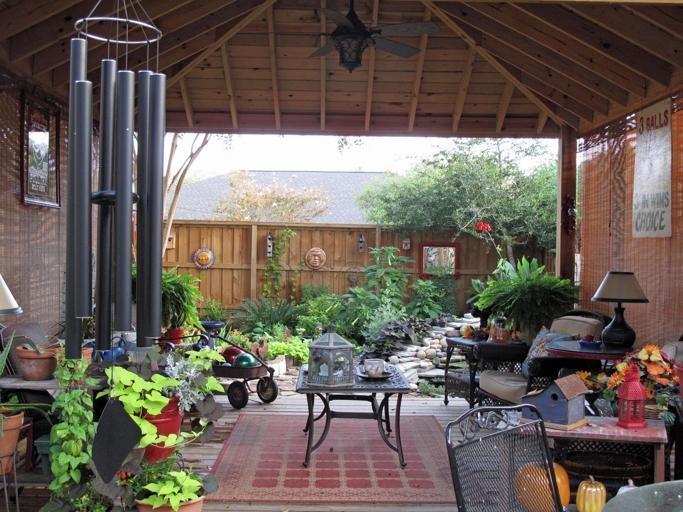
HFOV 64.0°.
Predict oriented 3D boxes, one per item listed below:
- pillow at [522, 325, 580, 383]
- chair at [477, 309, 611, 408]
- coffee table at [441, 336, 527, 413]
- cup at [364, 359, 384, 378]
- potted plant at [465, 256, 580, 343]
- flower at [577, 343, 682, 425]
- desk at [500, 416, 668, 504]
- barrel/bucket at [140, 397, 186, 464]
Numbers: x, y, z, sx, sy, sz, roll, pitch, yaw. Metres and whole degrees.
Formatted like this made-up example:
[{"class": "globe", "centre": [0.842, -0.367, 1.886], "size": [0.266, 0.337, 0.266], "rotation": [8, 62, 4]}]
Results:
[{"class": "pillow", "centre": [1.833, 0.837, 4.942], "size": [0.137, 0.462, 0.466], "rotation": [20, 4, 13]}, {"class": "chair", "centre": [1.927, 0.958, 5.062], "size": [1.005, 1.096, 0.933], "rotation": [1, -8, -15]}, {"class": "coffee table", "centre": [1.523, 1.125, 5.772], "size": [0.855, 0.702, 0.716], "rotation": [3, -4, -37]}, {"class": "cup", "centre": [0.260, 0.895, 4.407], "size": [0.146, 0.109, 0.144], "rotation": [-1, -5, 0]}, {"class": "potted plant", "centre": [2.142, 0.468, 6.510], "size": [1.113, 0.778, 1.089], "rotation": [-1, 0, -36]}, {"class": "flower", "centre": [1.990, 0.876, 3.831], "size": [0.668, 0.628, 0.656], "rotation": [12, -17, -32]}, {"class": "desk", "centre": [1.727, 1.228, 3.604], "size": [0.598, 0.565, 0.444], "rotation": [-1, -4, 8]}, {"class": "barrel/bucket", "centre": [-1.062, 1.048, 3.339], "size": [0.308, 0.317, 0.310], "rotation": [-1, 6, 0]}]
